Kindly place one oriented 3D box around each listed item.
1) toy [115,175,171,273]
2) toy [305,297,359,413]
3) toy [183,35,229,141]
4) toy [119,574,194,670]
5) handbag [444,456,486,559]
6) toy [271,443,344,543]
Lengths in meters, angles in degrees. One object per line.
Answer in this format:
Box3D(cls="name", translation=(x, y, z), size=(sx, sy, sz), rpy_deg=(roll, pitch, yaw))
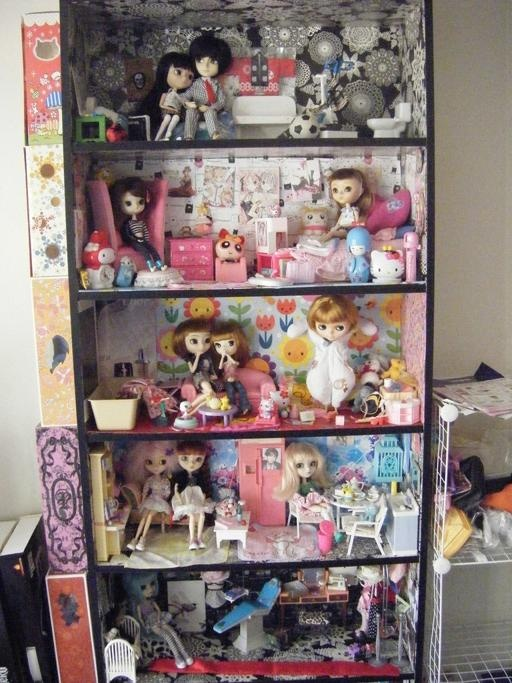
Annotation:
Box3D(cls="toy", translation=(-0.391, -0.412, 2.166), size=(0.137, 0.325, 0.207), rpy_deg=(-9, 11, -37))
Box3D(cls="toy", translation=(0.275, 0.045, 2.235), size=(0.184, 0.417, 0.107), rpy_deg=(-1, 8, 8))
Box3D(cls="toy", translation=(-0.169, -0.892, 2.147), size=(0.169, 0.389, 0.200), rpy_deg=(-2, 8, 3))
Box3D(cls="toy", translation=(-0.359, 1.058, 2.403), size=(0.204, 0.326, 0.290), rpy_deg=(-13, 7, -41))
Box3D(cls="handbag", translation=(0.750, 0.586, 2.199), size=(0.110, 0.303, 0.221), rpy_deg=(10, -18, 18))
Box3D(cls="toy", translation=(0.219, 0.558, 2.361), size=(0.291, 0.359, 0.206), rpy_deg=(-4, 3, 40))
